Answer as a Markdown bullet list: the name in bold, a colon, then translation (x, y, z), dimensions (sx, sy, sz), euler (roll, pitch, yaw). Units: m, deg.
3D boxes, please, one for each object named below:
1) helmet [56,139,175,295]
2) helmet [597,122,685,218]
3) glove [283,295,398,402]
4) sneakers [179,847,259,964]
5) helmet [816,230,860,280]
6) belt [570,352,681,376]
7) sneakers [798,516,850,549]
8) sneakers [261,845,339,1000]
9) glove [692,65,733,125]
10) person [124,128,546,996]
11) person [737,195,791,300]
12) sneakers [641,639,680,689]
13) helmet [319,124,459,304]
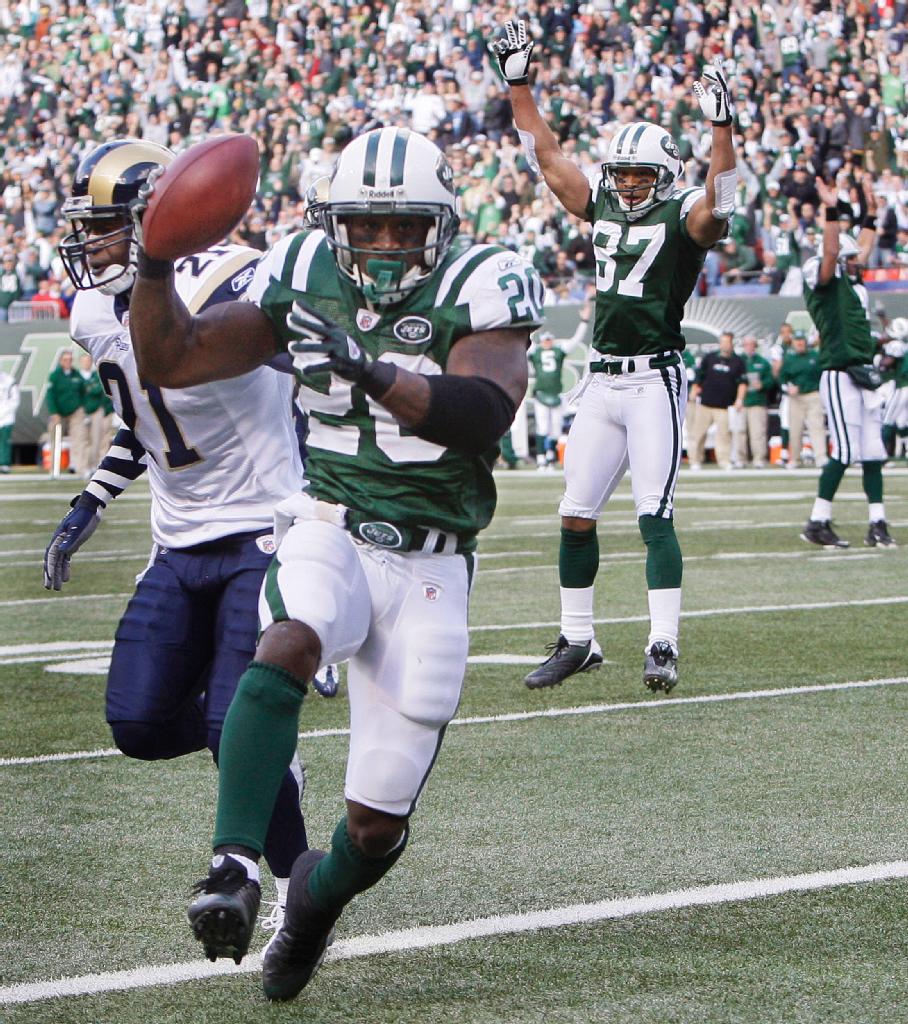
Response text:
- **helmet**: translation (-0.663, -0.640, 3.019), dimensions (0.332, 0.304, 0.235), euler (-8, 19, -14)
- **helmet**: translation (0.652, -1.239, 5.070), dimensions (0.267, 0.302, 0.332), euler (8, 26, 23)
- **glove**: translation (-0.162, -0.247, 2.135), dimensions (0.199, 0.059, 0.121), euler (22, 40, -23)
- **sneakers**: translation (-0.302, 0.495, 1.853), dimensions (0.064, 0.081, 0.169), euler (33, 14, -30)
- **helmet**: translation (2.266, -1.493, 8.332), dimensions (0.091, 0.258, 0.394), euler (2, 5, 31)
- **belt**: translation (0.616, -0.519, 4.975), dimensions (0.321, 0.083, 0.172), euler (0, 4, 7)
- **sneakers**: translation (2.229, 0.132, 8.571), dimensions (0.348, 0.166, 0.118), euler (15, 12, -9)
- **sneakers**: translation (-0.234, 0.634, 2.176), dimensions (0.087, 0.229, 0.103), euler (23, -8, -10)
- **glove**: translation (0.840, -1.367, 4.705), dimensions (0.095, 0.209, 0.147), euler (-6, -3, -19)
- **person**: translation (-0.229, 0.050, 2.185), dimensions (0.562, 1.361, 0.799), euler (1, 5, 23)
- **person**: translation (3.581, -3.016, 16.244), dimensions (0.416, 1.069, 0.767), euler (-1, 4, 2)
- **sneakers**: translation (0.638, 0.488, 4.492), dimensions (0.102, 0.150, 0.207), euler (0, 4, 7)
- **helmet**: translation (-0.110, -0.512, 2.400), dimensions (0.236, 0.265, 0.294), euler (5, 18, 2)
